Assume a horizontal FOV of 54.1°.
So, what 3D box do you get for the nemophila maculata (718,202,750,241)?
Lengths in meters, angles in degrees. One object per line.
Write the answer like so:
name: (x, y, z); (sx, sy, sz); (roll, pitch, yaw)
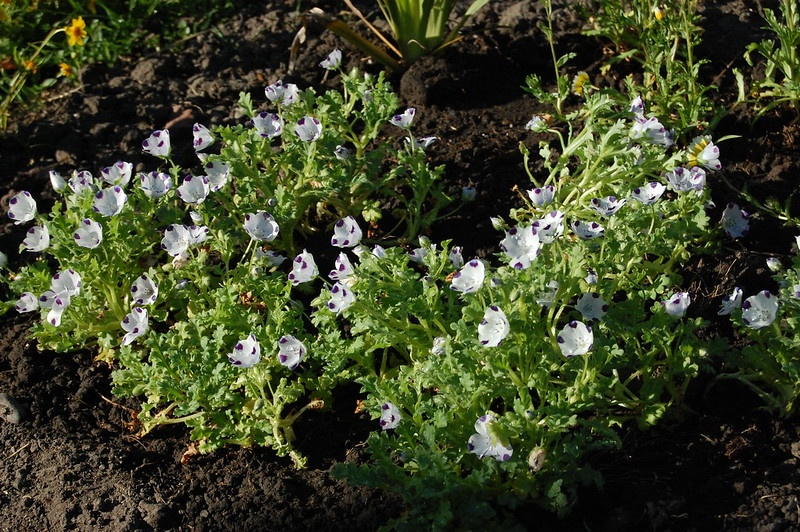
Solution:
nemophila maculata: (1.757, -0.244, 4.138); (0.154, 0.175, 0.083); (-24, 0, 23)
